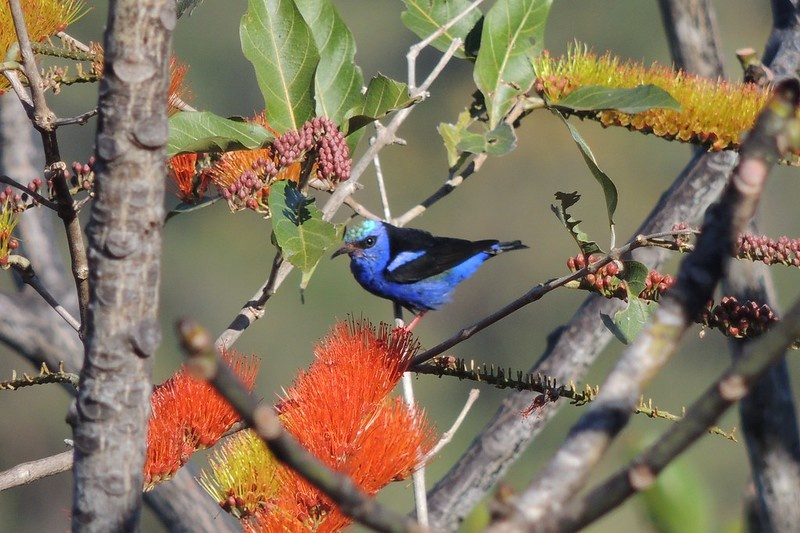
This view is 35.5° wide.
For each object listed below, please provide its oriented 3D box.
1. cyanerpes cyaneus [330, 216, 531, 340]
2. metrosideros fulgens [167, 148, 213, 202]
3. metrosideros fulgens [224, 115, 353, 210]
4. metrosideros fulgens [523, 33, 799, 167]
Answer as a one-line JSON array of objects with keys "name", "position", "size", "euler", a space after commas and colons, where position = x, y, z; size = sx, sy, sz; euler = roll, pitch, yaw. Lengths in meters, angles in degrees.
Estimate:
[{"name": "cyanerpes cyaneus", "position": [0.254, -0.026, 9.699], "size": [1.489, 0.888, 0.538], "euler": [-14, 16, -21]}, {"name": "metrosideros fulgens", "position": [-1.118, -0.468, 6.651], "size": [0.221, 0.273, 0.192], "euler": [-17, 10, -38]}, {"name": "metrosideros fulgens", "position": [-0.614, -0.510, 6.603], "size": [0.644, 0.490, 0.627], "euler": [-8, 10, -9]}, {"name": "metrosideros fulgens", "position": [1.425, -0.940, 6.995], "size": [1.362, 0.594, 0.321], "euler": [6, -1, -5]}]
